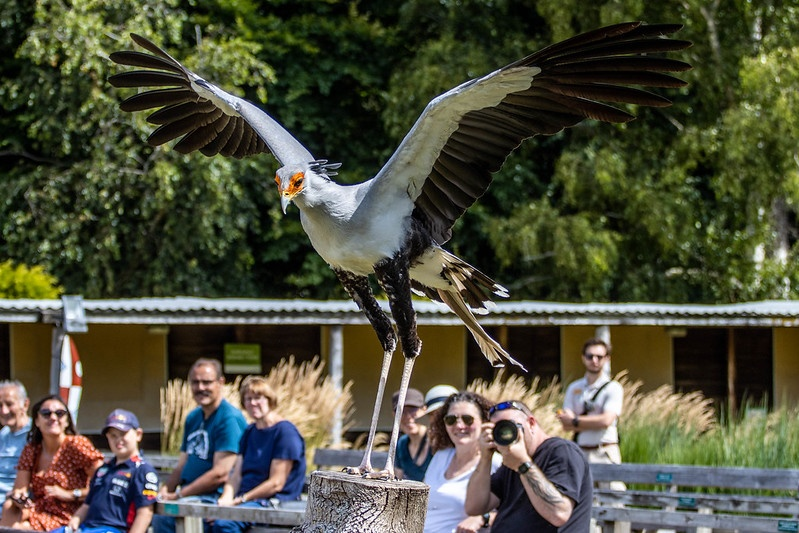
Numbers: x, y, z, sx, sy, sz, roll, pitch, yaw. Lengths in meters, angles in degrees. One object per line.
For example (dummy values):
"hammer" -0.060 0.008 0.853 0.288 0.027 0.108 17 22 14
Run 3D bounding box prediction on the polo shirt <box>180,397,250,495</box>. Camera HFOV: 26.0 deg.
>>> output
"polo shirt" -3.181 2.990 28.738 1.310 1.574 0.851 -8 -11 40

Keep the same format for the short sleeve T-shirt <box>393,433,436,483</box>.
"short sleeve T-shirt" 0.206 3.160 28.371 0.828 1.158 0.618 -1 -12 3

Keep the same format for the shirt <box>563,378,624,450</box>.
"shirt" 3.289 2.468 29.232 1.001 1.181 0.627 -11 -18 36

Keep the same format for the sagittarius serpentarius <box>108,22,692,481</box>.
"sagittarius serpentarius" -0.073 -0.094 28.217 11.473 7.458 6.002 2 -3 42

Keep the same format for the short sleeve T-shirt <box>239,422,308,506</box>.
"short sleeve T-shirt" -2.234 3.097 28.546 1.035 1.124 0.812 5 -2 19
